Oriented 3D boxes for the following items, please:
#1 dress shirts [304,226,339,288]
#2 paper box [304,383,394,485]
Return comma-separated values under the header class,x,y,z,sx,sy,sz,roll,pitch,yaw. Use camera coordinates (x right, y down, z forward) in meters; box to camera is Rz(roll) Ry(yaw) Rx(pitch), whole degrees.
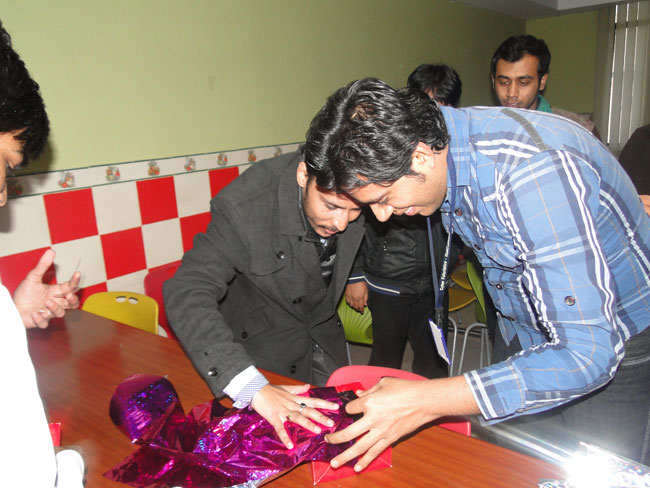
class,x,y,z,sx,sy,sz,roll,pitch,yaw
dress shirts,-0.067,0.032,1.669,0.144,0.186,0.197,-6,16,-21
paper box,0.041,0.460,1.088,0.200,0.194,0.087,-5,0,-18
